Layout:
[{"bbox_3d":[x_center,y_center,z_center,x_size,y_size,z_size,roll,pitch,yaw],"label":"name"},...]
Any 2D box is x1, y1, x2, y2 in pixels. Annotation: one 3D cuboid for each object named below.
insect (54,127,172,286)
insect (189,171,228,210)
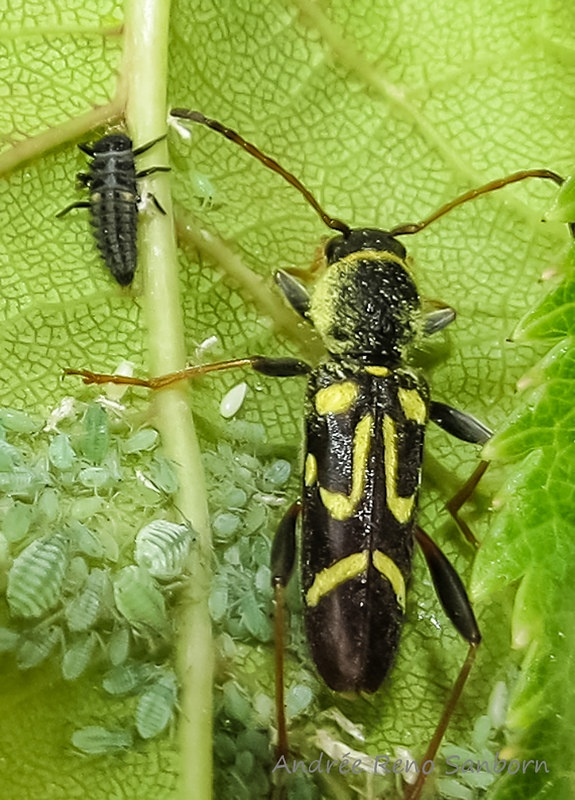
[{"bbox_3d":[-0.387,-0.430,1.768,0.281,0.109,0.324,0,82,-12],"label":"insect"},{"bbox_3d":[-0.190,-0.478,1.893,0.067,0.022,0.092,-28,84,-6],"label":"insect"}]
